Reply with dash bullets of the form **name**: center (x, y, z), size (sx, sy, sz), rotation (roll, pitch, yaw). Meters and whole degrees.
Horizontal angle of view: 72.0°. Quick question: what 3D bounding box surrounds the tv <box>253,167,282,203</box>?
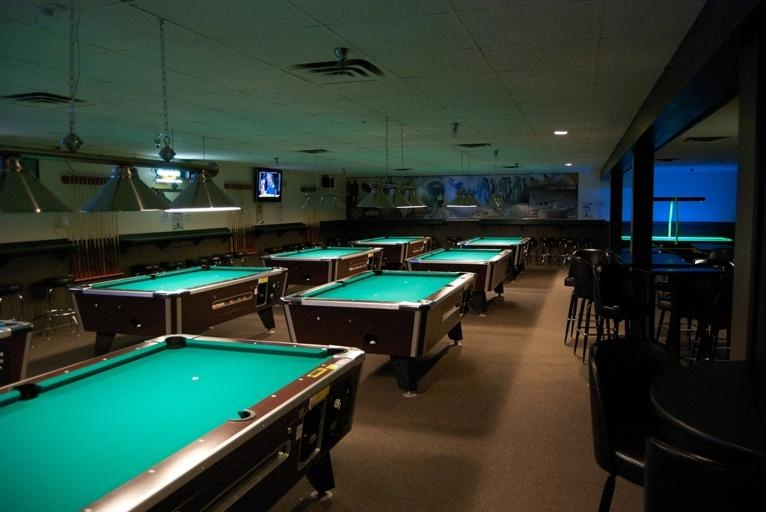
- **tv**: center (-2.619, -1.606, 11.845), size (0.129, 0.689, 0.909), rotation (1, 5, 25)

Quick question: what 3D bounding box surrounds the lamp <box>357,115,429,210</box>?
- **lamp**: center (-0.048, -1.133, 7.142), size (1.054, 1.534, 0.993), rotation (4, 6, 11)

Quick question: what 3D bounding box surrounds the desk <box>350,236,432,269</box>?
- **desk**: center (0.452, -0.124, 11.795), size (1.493, 0.679, 1.967), rotation (4, 6, 14)

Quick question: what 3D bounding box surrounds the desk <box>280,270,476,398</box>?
- **desk**: center (0.093, 0.690, 5.848), size (1.628, 0.713, 2.150), rotation (4, 8, 24)

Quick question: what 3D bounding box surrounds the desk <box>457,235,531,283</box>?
- **desk**: center (2.329, 0.024, 10.801), size (1.227, 0.786, 1.409), rotation (0, 2, 19)
